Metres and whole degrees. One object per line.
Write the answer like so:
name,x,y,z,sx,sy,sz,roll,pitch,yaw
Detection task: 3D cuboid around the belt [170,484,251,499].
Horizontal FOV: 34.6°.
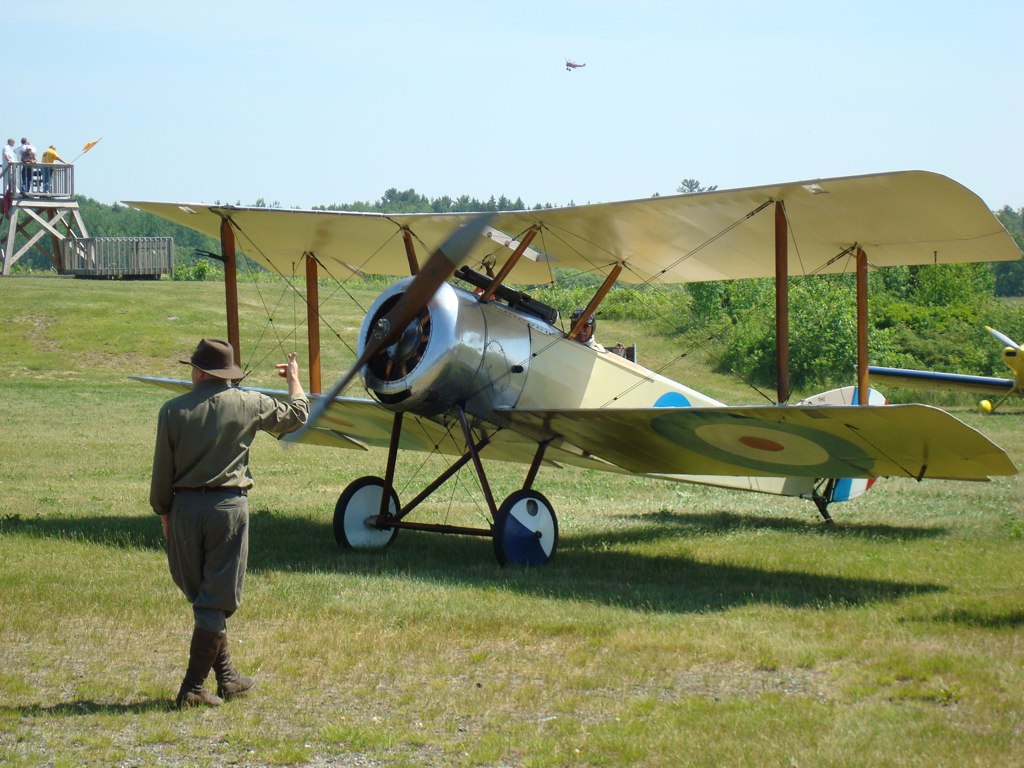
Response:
belt,-2.343,0.810,12.798,0.591,0.136,0.136,6,-7,-11

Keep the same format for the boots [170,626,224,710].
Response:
boots,-2.427,2.182,12.741,0.296,0.636,0.252,8,-8,-15

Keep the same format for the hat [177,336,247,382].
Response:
hat,-2.373,-0.197,12.928,0.408,0.154,0.331,18,6,2

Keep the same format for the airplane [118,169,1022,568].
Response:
airplane,0.921,-0.023,16.705,7.728,3.812,4.171,3,-7,14
